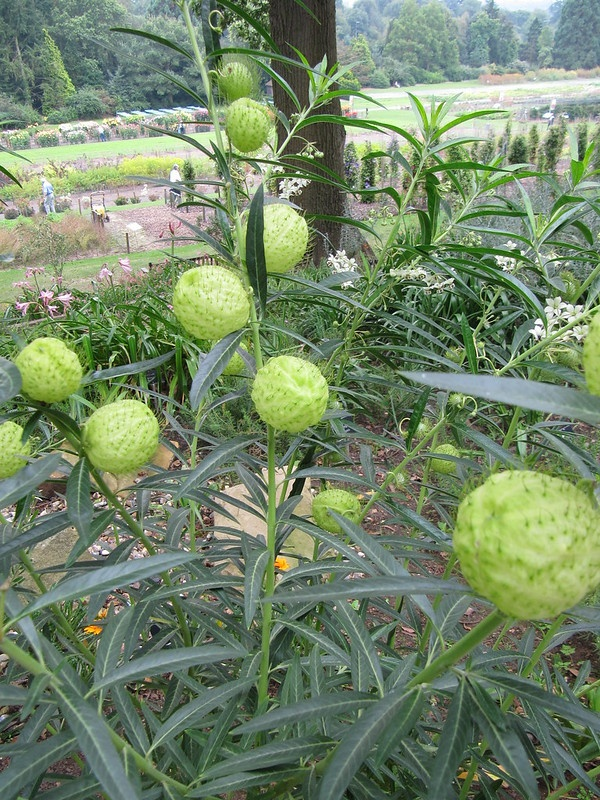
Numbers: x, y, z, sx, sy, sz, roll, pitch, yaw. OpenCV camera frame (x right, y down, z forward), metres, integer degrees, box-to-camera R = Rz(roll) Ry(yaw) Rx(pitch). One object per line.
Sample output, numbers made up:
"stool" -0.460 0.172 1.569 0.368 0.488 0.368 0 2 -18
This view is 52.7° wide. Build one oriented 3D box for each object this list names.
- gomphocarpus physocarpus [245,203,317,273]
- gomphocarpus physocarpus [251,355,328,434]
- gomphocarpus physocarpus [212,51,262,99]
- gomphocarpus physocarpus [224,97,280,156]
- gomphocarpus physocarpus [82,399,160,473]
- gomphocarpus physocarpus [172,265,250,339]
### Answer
"gomphocarpus physocarpus" -0.031 -0.255 0.977 0.085 0.117 0.075 -16 34 -26
"gomphocarpus physocarpus" -0.015 0.005 0.862 0.101 0.149 0.111 -2 30 -4
"gomphocarpus physocarpus" -0.106 -0.555 1.048 0.072 0.072 0.085 -2 29 -3
"gomphocarpus physocarpus" -0.068 -0.453 1.008 0.092 0.089 0.085 1 49 -1
"gomphocarpus physocarpus" -0.273 0.058 0.930 0.094 0.112 0.099 34 34 16
"gomphocarpus physocarpus" -0.112 -0.130 0.889 0.120 0.118 0.093 3 71 17
